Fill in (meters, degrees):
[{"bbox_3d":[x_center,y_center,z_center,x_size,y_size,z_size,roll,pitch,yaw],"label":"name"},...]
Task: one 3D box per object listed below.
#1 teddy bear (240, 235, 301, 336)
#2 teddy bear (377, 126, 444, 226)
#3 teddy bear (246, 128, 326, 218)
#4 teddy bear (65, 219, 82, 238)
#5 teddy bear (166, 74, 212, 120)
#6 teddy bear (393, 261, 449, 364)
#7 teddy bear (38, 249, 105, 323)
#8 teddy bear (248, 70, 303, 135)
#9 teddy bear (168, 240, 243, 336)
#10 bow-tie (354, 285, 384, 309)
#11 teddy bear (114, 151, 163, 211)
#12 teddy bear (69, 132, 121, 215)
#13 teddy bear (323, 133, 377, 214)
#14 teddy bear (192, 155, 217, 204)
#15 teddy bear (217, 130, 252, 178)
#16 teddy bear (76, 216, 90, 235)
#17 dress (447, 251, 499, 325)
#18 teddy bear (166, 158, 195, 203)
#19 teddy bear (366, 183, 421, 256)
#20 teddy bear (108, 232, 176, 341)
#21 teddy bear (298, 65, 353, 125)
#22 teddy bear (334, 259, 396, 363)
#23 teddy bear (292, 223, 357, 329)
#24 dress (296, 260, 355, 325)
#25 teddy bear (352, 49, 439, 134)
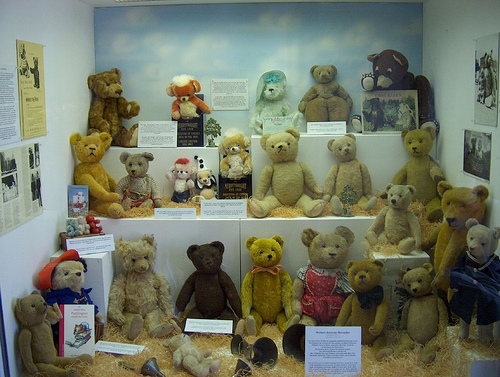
[{"bbox_3d":[0.146,0.827,3.615,0.491,0.827,0.554,-1,2,-19],"label":"teddy bear"},{"bbox_3d":[1.569,-0.147,3.996,0.612,0.852,0.498,-1,11,35],"label":"teddy bear"},{"bbox_3d":[0.333,-0.156,4.031,0.723,0.820,0.636,-4,11,2],"label":"teddy bear"},{"bbox_3d":[-1.548,0.340,3.642,0.130,0.180,0.116,-1,-6,-38],"label":"teddy bear"},{"bbox_3d":[-0.645,-0.936,4.354,0.434,0.493,0.278,-4,31,-5],"label":"teddy bear"},{"bbox_3d":[1.329,0.949,3.254,0.378,0.653,0.408,1,9,27],"label":"teddy bear"},{"bbox_3d":[-1.497,0.805,3.439,0.423,0.631,0.497,-11,-13,31],"label":"teddy bear"},{"bbox_3d":[0.249,-0.894,4.399,0.489,0.691,0.407,-2,4,7],"label":"teddy bear"},{"bbox_3d":[-0.366,0.865,3.681,0.617,0.800,0.502,-1,15,0],"label":"teddy bear"},{"bbox_3d":[0.951,0.866,3.343,0.207,0.164,0.086,-3,8,6],"label":"bow-tie"},{"bbox_3d":[-1.102,-0.062,4.066,0.452,0.593,0.357,-1,12,-19],"label":"teddy bear"},{"bbox_3d":[-1.450,-0.153,4.025,0.454,0.773,0.330,1,9,25],"label":"teddy bear"},{"bbox_3d":[0.932,-0.147,3.968,0.489,0.720,0.508,-1,8,13],"label":"teddy bear"},{"bbox_3d":[-0.469,-0.083,4.218,0.286,0.503,0.268,-6,10,-30],"label":"teddy bear"},{"bbox_3d":[-0.158,-0.364,4.242,0.353,0.521,0.286,-6,5,13],"label":"teddy bear"},{"bbox_3d":[-1.488,0.318,3.713,0.082,0.151,0.057,-18,-17,-16],"label":"teddy bear"},{"bbox_3d":[1.624,0.703,3.037,0.303,0.458,0.230,1,9,29],"label":"dress"},{"bbox_3d":[-0.693,-0.080,4.186,0.286,0.427,0.146,-4,8,-6],"label":"teddy bear"},{"bbox_3d":[1.261,0.255,3.659,0.473,0.594,0.341,6,12,38],"label":"teddy bear"},{"bbox_3d":[-0.918,0.848,3.623,0.560,0.869,0.537,1,1,14],"label":"teddy bear"},{"bbox_3d":[0.767,-0.923,4.581,0.626,0.852,0.521,0,3,3],"label":"teddy bear"},{"bbox_3d":[0.901,0.940,3.305,0.458,0.709,0.488,-1,9,16],"label":"teddy bear"},{"bbox_3d":[0.617,0.776,3.541,0.636,0.931,0.596,3,-5,-14],"label":"teddy bear"},{"bbox_3d":[0.615,0.851,3.690,0.504,0.723,0.419,0,-4,3],"label":"dress"},{"bbox_3d":[1.526,-0.927,4.396,0.781,1.099,0.496,10,33,36],"label":"teddy bear"}]
